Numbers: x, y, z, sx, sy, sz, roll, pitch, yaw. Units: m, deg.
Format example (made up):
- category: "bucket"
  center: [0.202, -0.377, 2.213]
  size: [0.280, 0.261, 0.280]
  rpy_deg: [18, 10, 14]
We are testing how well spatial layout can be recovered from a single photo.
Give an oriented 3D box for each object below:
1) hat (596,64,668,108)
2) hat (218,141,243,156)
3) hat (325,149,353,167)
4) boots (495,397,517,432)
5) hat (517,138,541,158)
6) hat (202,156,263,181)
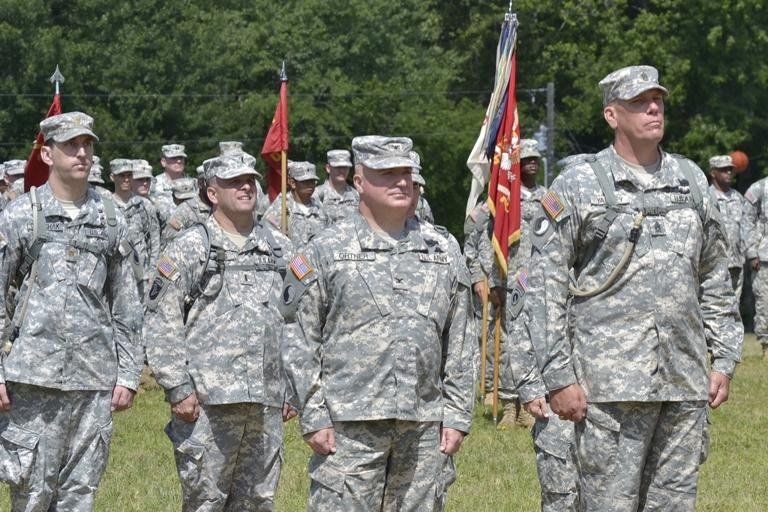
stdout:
- category: "hat"
  center: [2.807, -1.940, 17.840]
  size: [0.523, 0.240, 0.655]
  rpy_deg: [-7, 1, -28]
- category: "hat"
  center: [-1.962, -1.381, 19.426]
  size: [0.301, 0.170, 0.298]
  rpy_deg: [-2, 0, 12]
- category: "hat"
  center: [-0.776, -1.615, 25.456]
  size: [0.385, 0.183, 0.518]
  rpy_deg: [1, 5, -13]
- category: "boots"
  center: [1.865, 2.433, 23.408]
  size: [0.440, 0.500, 0.297]
  rpy_deg: [5, -8, -21]
- category: "hat"
  center: [2.209, -1.626, 23.130]
  size: [0.274, 0.282, 0.363]
  rpy_deg: [2, -5, -7]
- category: "hat"
  center: [-1.946, -1.092, 18.934]
  size: [0.807, 0.302, 0.361]
  rpy_deg: [4, 10, 21]
